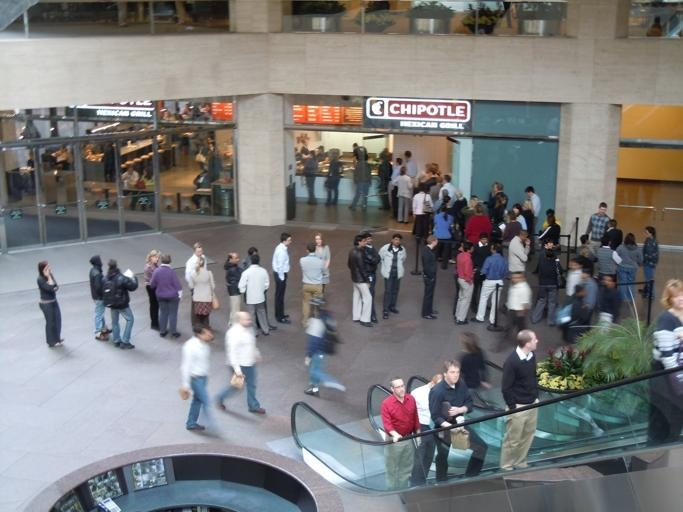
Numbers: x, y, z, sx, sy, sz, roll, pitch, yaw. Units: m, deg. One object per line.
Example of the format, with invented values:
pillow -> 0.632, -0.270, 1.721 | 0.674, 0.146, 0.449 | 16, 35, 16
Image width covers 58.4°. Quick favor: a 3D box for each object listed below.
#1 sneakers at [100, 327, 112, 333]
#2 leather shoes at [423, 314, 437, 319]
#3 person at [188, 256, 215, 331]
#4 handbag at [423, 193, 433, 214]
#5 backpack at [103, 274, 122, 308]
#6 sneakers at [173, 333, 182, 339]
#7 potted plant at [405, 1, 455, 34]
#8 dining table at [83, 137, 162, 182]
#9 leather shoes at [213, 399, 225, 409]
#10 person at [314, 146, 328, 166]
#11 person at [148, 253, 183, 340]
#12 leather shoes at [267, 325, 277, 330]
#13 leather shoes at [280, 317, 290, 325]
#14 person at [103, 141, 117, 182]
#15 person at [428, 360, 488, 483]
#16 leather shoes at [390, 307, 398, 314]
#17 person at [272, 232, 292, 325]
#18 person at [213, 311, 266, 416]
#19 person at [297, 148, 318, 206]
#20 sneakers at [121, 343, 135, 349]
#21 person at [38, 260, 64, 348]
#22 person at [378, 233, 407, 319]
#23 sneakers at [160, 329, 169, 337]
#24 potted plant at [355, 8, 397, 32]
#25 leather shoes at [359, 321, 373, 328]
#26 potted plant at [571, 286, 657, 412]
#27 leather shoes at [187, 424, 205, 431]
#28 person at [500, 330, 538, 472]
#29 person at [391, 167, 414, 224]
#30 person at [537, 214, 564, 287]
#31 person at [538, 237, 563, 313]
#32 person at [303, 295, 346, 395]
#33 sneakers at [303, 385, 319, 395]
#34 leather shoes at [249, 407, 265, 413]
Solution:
sneakers -> -5.224, 1.641, 13.537 | 0.217, 0.066, 0.149 | 5, 0, -44
leather shoes -> 2.086, 1.410, 14.487 | 0.367, 0.126, 0.106 | 4, 18, 6
person -> -2.992, 0.792, 13.106 | 0.477, 1.601, 0.501 | -7, 17, -22
handbag -> 2.564, -1.600, 18.554 | 0.398, 0.550, 0.227 | 6, -2, -38
backpack -> -4.762, 0.772, 12.892 | 0.554, 0.707, 0.432 | -9, -11, 30
sneakers -> -3.631, 1.739, 13.512 | 0.170, 0.104, 0.084 | -19, 30, -34
potted plant -> 2.729, -7.374, 18.921 | 1.203, 0.654, 1.091 | 1, 20, 3
dining table -> -6.962, -2.853, 19.432 | 2.966, 1.419, 0.815 | 1, 30, 7
leather shoes -> -2.241, 2.683, 11.028 | 0.152, 0.220, 0.235 | 2, -14, 10
person -> -0.692, -3.503, 21.256 | 0.439, 0.698, 0.104 | 2, 16, 12
person -> -3.830, 0.863, 13.305 | 0.588, 1.890, 0.598 | -7, 17, -21
leather shoes -> -1.567, 1.617, 13.863 | 0.217, 0.135, 0.067 | -5, 25, -12
leather shoes -> -1.315, 1.493, 14.161 | 0.217, 0.080, 0.110 | 2, 14, 25
person -> -7.244, -2.918, 19.047 | 0.110, 1.175, 0.412 | 14, 21, 41
person -> 1.616, 2.315, 8.533 | 0.709, 1.743, 0.840 | -1, 15, -2
leather shoes -> 1.285, 1.298, 14.753 | 0.229, 0.141, 0.075 | -4, 47, -3
person -> -1.427, 0.624, 14.592 | 0.669, 2.614, 0.874 | -2, 42, -7
person -> -1.783, 1.875, 10.636 | 0.987, 1.805, 0.747 | -1, 11, -6
person -> -1.114, -2.804, 21.588 | 0.535, 1.925, 0.229 | -2, 16, -4
sneakers -> -4.567, 1.902, 13.011 | 0.245, 0.211, 0.106 | -5, 34, -19
person -> -6.192, 0.984, 12.944 | 0.374, 1.907, 0.712 | -8, 17, -26
person -> 1.176, 0.438, 14.352 | 0.568, 2.064, 0.841 | 0, 15, 5
sneakers -> -3.937, 1.704, 13.539 | 0.084, 0.080, 0.202 | 5, 22, 11
potted plant -> 1.127, -7.571, 19.446 | 0.844, 0.634, 0.773 | -2, 31, -2
leather shoes -> 0.572, 1.564, 14.102 | 0.298, 0.114, 0.094 | 4, 29, 17
potted plant -> 4.759, 1.505, 10.438 | 1.250, 0.709, 1.222 | 23, 53, -3
leather shoes -> -2.497, 2.937, 10.465 | 0.336, 0.117, 0.106 | 0, 21, -7
person -> 2.439, 2.001, 8.403 | 0.491, 1.875, 0.966 | 4, 16, 16
person -> 2.118, -2.119, 21.068 | 0.661, 2.002, 0.690 | 3, 16, 13
person -> 5.483, -0.227, 16.169 | 0.649, 1.997, 0.693 | 12, 25, 32
person -> 4.693, 0.603, 13.834 | 0.514, 2.026, 1.332 | 4, 16, 17
person -> -0.353, 1.657, 11.490 | 0.705, 1.816, 0.821 | -1, 15, -3
sneakers -> -0.574, 2.517, 11.505 | 0.278, 0.106, 0.151 | 9, 15, 19
leather shoes -> -1.513, 2.757, 10.903 | 0.255, 0.096, 0.101 | 0, 24, 4
